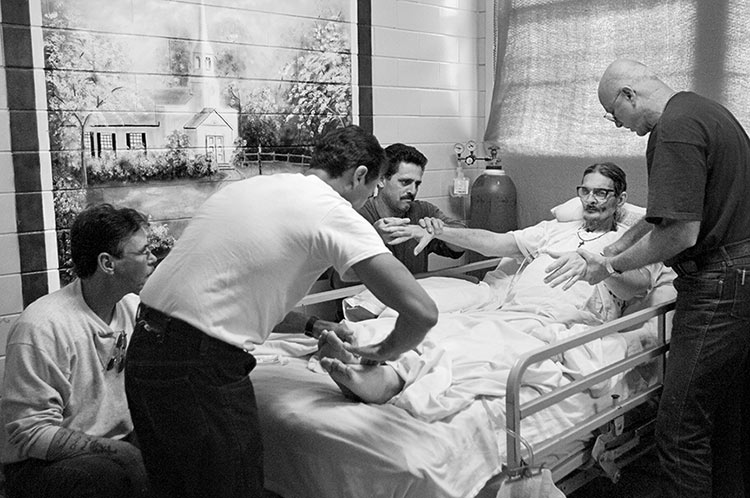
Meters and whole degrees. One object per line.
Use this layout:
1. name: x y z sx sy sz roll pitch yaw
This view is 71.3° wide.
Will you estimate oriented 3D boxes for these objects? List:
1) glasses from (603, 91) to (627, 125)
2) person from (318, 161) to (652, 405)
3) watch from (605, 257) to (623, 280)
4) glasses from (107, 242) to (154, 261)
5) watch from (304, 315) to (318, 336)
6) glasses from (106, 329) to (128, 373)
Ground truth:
1. glasses: 1.161 -0.660 2.477 0.038 0.142 0.131 -21 9 4
2. person: 0.568 0.096 2.891 1.650 1.053 1.102 -9 10 -31
3. watch: 1.139 0.088 2.507 0.082 0.085 0.055 33 3 -12
4. glasses: -1.093 0.028 2.304 0.151 0.069 0.115 -18 -5 35
5. watch: -0.288 0.347 2.422 0.055 0.093 0.083 14 23 23
6. glasses: -1.135 0.460 2.333 0.064 0.195 0.137 5 6 -5
